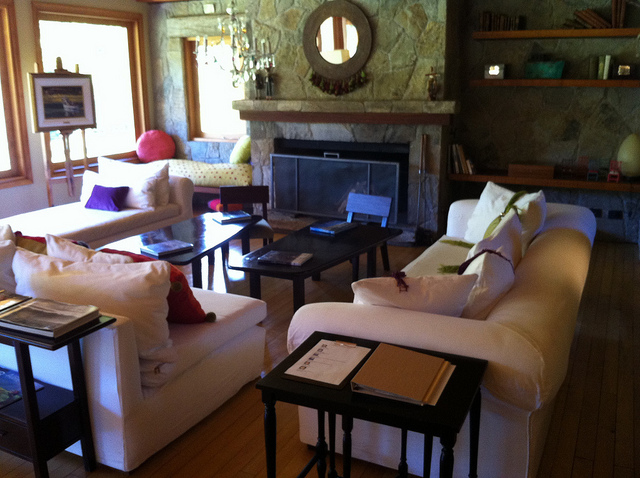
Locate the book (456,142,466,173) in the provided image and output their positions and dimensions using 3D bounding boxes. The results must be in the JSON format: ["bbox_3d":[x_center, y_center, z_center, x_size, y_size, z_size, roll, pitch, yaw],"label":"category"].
[{"bbox_3d":[1.686,-0.959,5.963,0.039,0.314,0.120,-12,17,-30],"label":"book"}]

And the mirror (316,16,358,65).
[{"bbox_3d":[0.224,-2.344,5.835,0.535,0.579,0.074,4,17,30],"label":"mirror"}]

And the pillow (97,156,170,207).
[{"bbox_3d":[-2.154,-0.645,5.772,0.747,0.521,0.225,6,8,22],"label":"pillow"}]

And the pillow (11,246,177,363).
[{"bbox_3d":[-1.332,0.349,2.685,0.834,0.525,0.276,9,-14,-5],"label":"pillow"}]

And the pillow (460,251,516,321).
[{"bbox_3d":[0.945,0.278,2.785,0.278,0.408,0.496,0,-16,29],"label":"pillow"}]

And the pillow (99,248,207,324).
[{"bbox_3d":[-0.944,0.341,2.975,0.459,0.148,0.479,13,-4,28],"label":"pillow"}]

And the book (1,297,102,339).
[{"bbox_3d":[-1.265,0.360,2.347,0.411,0.077,0.283,2,16,20],"label":"book"}]

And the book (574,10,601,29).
[{"bbox_3d":[2.891,-2.380,5.404,0.262,0.202,0.035,4,17,28],"label":"book"}]

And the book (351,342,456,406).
[{"bbox_3d":[0.355,0.559,2.094,0.365,0.076,0.341,3,16,24],"label":"book"}]

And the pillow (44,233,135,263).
[{"bbox_3d":[-1.335,0.078,2.874,0.264,0.087,0.276,11,8,2],"label":"pillow"}]

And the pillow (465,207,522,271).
[{"bbox_3d":[1.093,0.012,3.156,0.197,0.356,0.618,16,37,25],"label":"pillow"}]

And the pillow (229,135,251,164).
[{"bbox_3d":[-1.102,-1.266,7.060,0.145,0.377,0.360,17,-20,-29],"label":"pillow"}]

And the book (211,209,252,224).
[{"bbox_3d":[-0.871,-0.228,4.961,0.392,0.061,0.334,-7,15,-13],"label":"book"}]

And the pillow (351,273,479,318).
[{"bbox_3d":[0.479,0.299,2.544,0.615,0.250,0.140,-3,15,4],"label":"pillow"}]

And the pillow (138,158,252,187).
[{"bbox_3d":[-1.546,-0.955,7.100,1.096,0.327,0.689,6,17,21],"label":"pillow"}]

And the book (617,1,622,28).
[{"bbox_3d":[3.144,-2.373,5.266,0.044,0.257,0.033,9,19,39],"label":"book"}]

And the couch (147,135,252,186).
[{"bbox_3d":[-1.547,-1.005,7.112,1.218,0.522,0.847,7,17,18],"label":"couch"}]

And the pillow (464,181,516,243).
[{"bbox_3d":[1.423,-0.254,4.240,0.216,0.576,0.556,18,2,3],"label":"pillow"}]

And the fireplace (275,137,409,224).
[{"bbox_3d":[0.234,-0.766,6.251,1.775,1.075,0.381,4,16,27],"label":"fireplace"}]

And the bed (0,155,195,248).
[{"bbox_3d":[-2.245,-0.411,5.632,1.212,0.734,1.652,9,17,25],"label":"bed"}]
